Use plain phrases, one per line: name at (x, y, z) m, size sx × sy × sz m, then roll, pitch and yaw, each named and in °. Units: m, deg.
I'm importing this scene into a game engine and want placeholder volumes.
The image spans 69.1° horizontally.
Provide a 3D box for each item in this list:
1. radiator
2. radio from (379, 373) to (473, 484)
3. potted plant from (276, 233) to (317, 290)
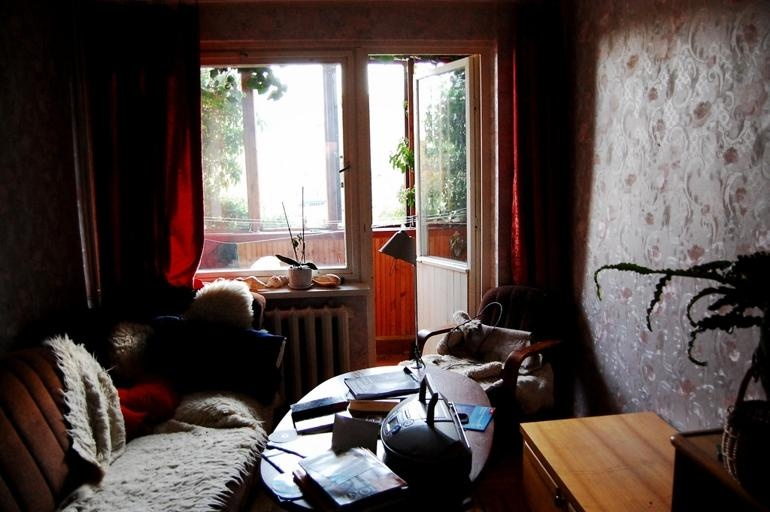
radiator at (-0.541, 0.643, 4.130) m, size 0.580 × 0.679 × 0.531 m, roll 1°, pitch 8°, yaw -7°
radio at (0.182, 0.787, 2.628) m, size 0.408 × 0.389 × 0.557 m, roll 0°, pitch 12°, yaw -12°
potted plant at (-0.630, 0.042, 4.086) m, size 0.265 × 0.360 × 0.317 m, roll -3°, pitch 10°, yaw -9°
